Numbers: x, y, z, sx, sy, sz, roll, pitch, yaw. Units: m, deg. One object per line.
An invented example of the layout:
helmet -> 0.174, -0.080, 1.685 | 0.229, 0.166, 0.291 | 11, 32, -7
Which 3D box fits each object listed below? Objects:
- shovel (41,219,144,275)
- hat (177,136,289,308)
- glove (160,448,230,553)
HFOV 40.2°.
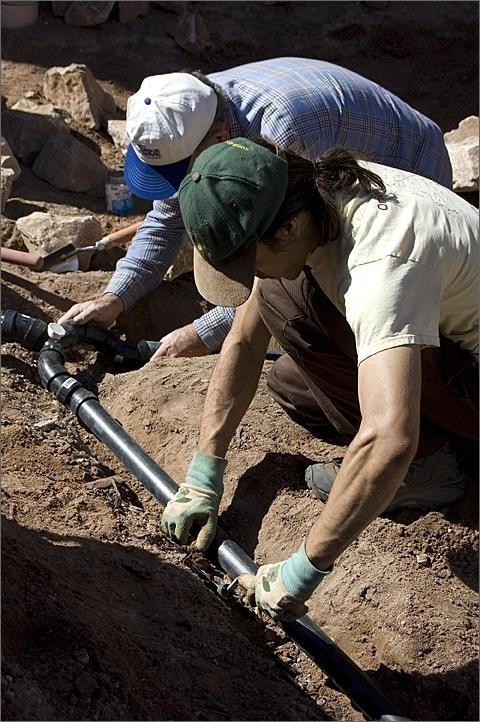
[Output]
shovel -> -0.862, -0.674, 3.897 | 0.570, 0.122, 0.310 | -12, 9, -2
hat -> -0.043, -0.348, 1.687 | 0.270, 0.414, 0.178 | 13, 21, 8
glove -> -0.119, 0.464, 2.186 | 0.212, 0.304, 0.141 | 21, -10, 30
